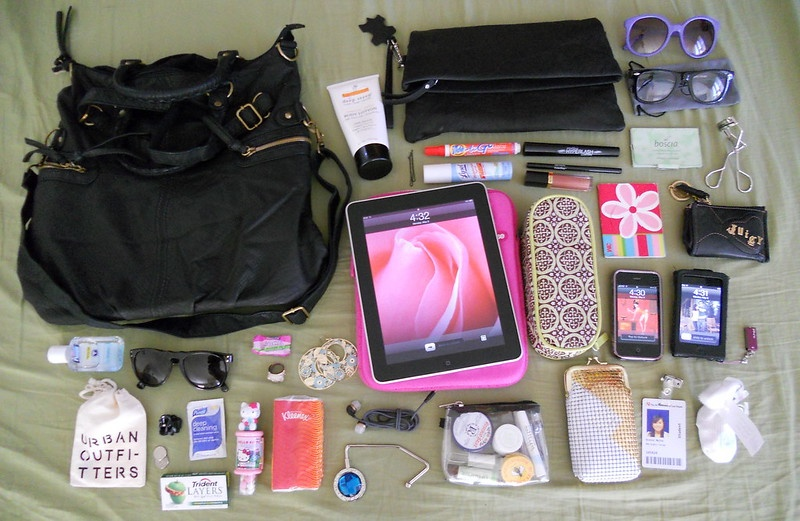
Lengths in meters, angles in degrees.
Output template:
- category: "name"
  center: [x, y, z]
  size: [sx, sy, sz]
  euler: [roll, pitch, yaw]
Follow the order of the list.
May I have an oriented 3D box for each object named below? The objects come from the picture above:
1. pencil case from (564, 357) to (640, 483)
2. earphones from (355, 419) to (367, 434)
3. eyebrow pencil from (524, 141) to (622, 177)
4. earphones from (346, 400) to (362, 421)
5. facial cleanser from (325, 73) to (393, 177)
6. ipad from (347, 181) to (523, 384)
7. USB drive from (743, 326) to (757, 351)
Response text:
- category: "pencil case"
  center: [0.646, 0.510, 2.442]
  size: [0.238, 0.350, 0.086]
  euler: [-6, -4, 5]
- category: "earphones"
  center: [-0.127, 0.546, 2.491]
  size: [0.035, 0.042, 0.024]
  euler: [21, 27, 4]
- category: "eyebrow pencil"
  center: [0.580, -0.352, 2.609]
  size: [0.380, 0.114, 0.064]
  euler: [1, -4, -1]
- category: "earphones"
  center: [-0.149, 0.494, 2.493]
  size: [0.071, 0.041, 0.019]
  euler: [33, 27, 26]
- category: "facial cleanser"
  center: [-0.130, -0.471, 2.662]
  size: [0.232, 0.327, 0.135]
  euler: [-16, -2, 1]
- category: "ipad"
  center: [0.105, 0.079, 2.490]
  size: [0.627, 0.612, 0.152]
  euler: [-7, -5, -2]
- category: "USB drive"
  center: [1.167, 0.262, 2.525]
  size: [0.043, 0.074, 0.021]
  euler: [-2, -9, -8]
